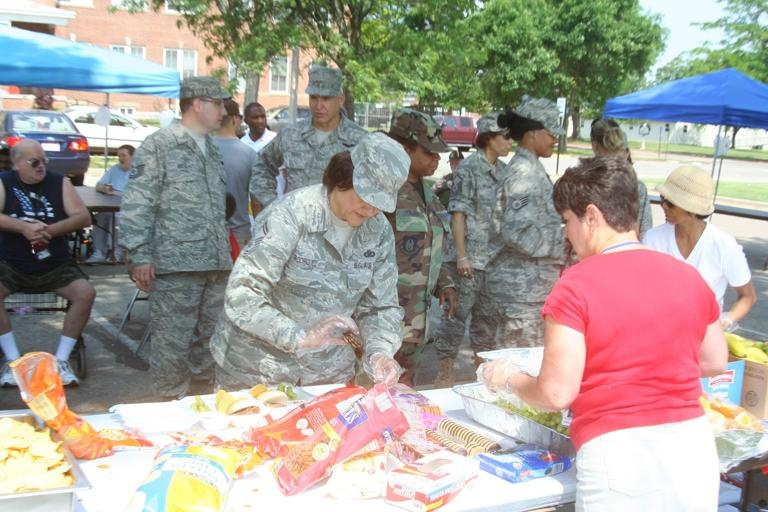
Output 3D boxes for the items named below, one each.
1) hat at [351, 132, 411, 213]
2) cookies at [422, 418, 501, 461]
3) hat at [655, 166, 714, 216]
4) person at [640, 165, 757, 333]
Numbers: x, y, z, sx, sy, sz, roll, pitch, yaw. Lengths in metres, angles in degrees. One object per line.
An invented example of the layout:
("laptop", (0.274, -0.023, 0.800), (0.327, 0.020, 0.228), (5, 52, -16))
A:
("hat", (-0.030, -0.431, 3.052), (0.296, 0.363, 0.283), (2, 15, -3))
("cookies", (0.383, 0.907, 2.976), (0.199, 0.058, 0.191), (0, 15, -45))
("hat", (1.971, -0.384, 3.798), (0.353, 0.185, 0.319), (2, 32, -17))
("person", (2.153, -0.103, 4.077), (0.808, 1.178, 0.854), (0, -3, 1))
